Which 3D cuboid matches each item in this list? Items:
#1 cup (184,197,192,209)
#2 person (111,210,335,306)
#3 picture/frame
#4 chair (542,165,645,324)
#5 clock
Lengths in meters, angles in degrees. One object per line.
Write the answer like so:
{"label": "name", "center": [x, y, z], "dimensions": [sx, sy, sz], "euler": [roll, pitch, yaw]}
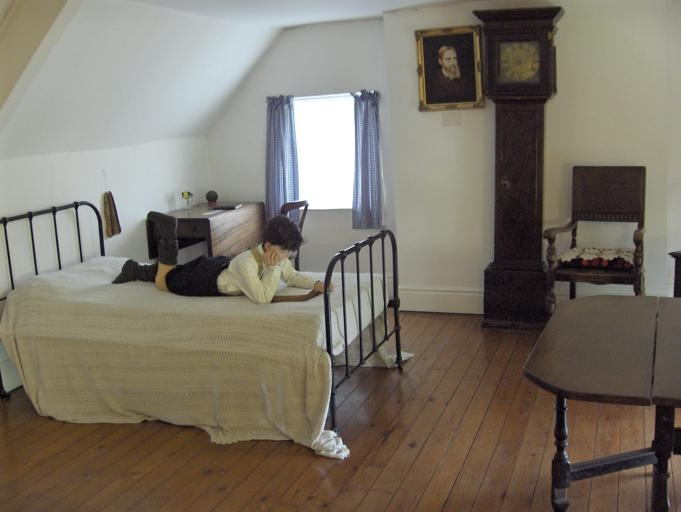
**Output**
{"label": "cup", "center": [-1.460, -0.514, 5.543], "dimensions": [0.079, 0.114, 0.089], "euler": [-2, 12, -11]}
{"label": "person", "center": [-0.807, -0.034, 3.705], "dimensions": [1.221, 0.563, 0.526], "euler": [7, 17, 9]}
{"label": "picture/frame", "center": [0.895, -1.548, 4.613], "dimensions": [0.605, 0.792, 0.076], "euler": [0, 11, 20]}
{"label": "chair", "center": [1.892, -0.097, 4.252], "dimensions": [0.694, 1.095, 0.756], "euler": [-1, 11, 10]}
{"label": "clock", "center": [1.348, -0.629, 4.403], "dimensions": [0.573, 2.377, 0.241], "euler": [2, 11, 23]}
